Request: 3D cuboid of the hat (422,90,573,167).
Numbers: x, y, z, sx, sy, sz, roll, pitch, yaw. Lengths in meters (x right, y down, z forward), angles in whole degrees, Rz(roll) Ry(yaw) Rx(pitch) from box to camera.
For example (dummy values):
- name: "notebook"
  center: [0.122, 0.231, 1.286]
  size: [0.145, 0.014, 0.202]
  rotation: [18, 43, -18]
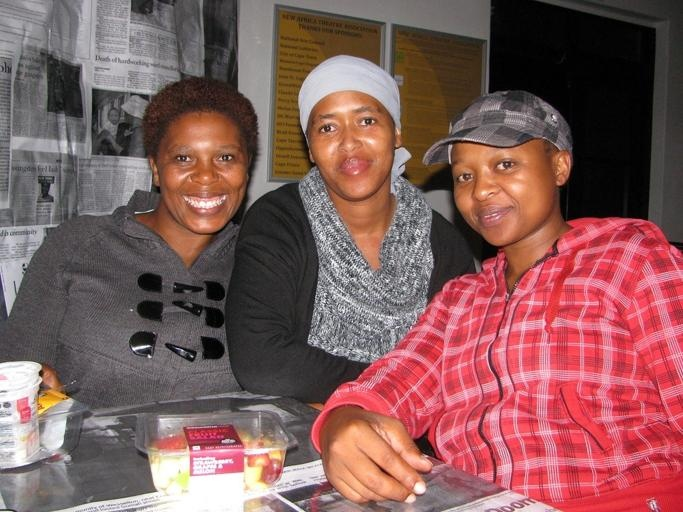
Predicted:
- name: "hat"
  center: [0.442, -0.326, 1.441]
  size: [0.312, 0.138, 0.216]
  rotation: [8, -9, -13]
